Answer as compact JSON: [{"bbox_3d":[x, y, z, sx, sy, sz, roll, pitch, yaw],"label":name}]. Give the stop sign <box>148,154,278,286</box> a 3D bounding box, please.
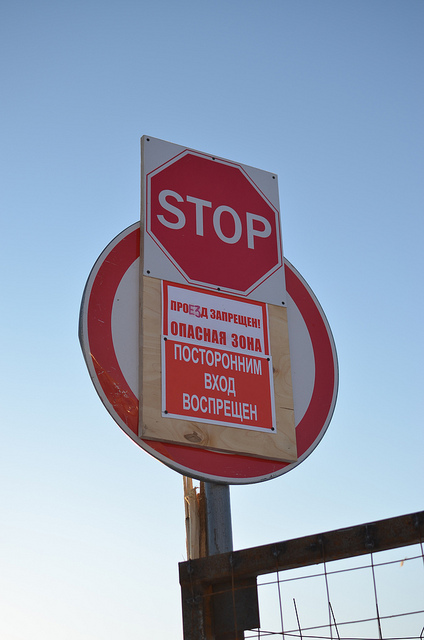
[{"bbox_3d":[-0.021,-0.434,5.473,0.664,0.685,0.028,18,-37,-37],"label":"stop sign"}]
